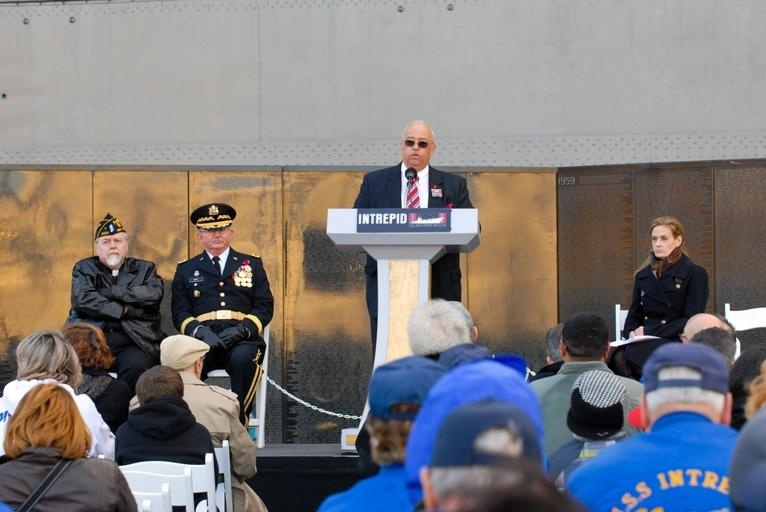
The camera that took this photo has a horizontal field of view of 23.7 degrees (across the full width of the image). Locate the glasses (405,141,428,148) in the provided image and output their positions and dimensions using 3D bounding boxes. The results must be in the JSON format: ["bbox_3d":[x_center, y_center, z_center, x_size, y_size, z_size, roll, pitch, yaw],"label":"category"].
[{"bbox_3d":[0.300,-1.024,16.400,0.203,0.062,0.038,0,-5,-2],"label":"glasses"}]

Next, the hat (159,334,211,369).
[{"bbox_3d":[-1.767,0.807,16.189,0.383,0.231,0.474,11,21,41],"label":"hat"}]

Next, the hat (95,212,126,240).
[{"bbox_3d":[-2.744,-0.300,17.866,0.320,0.181,0.233,-15,-6,30],"label":"hat"}]

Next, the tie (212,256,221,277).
[{"bbox_3d":[-1.633,0.095,17.764,0.057,0.206,0.054,-18,-31,-11],"label":"tie"}]

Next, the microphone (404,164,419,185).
[{"bbox_3d":[0.248,-0.725,16.242,0.109,0.147,0.154,-1,5,-1],"label":"microphone"}]

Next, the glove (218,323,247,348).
[{"bbox_3d":[-1.438,0.769,17.404,0.234,0.096,0.196,-30,49,-19],"label":"glove"}]

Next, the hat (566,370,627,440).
[{"bbox_3d":[1.729,1.132,14.558,0.535,0.258,0.698,2,42,5],"label":"hat"}]
